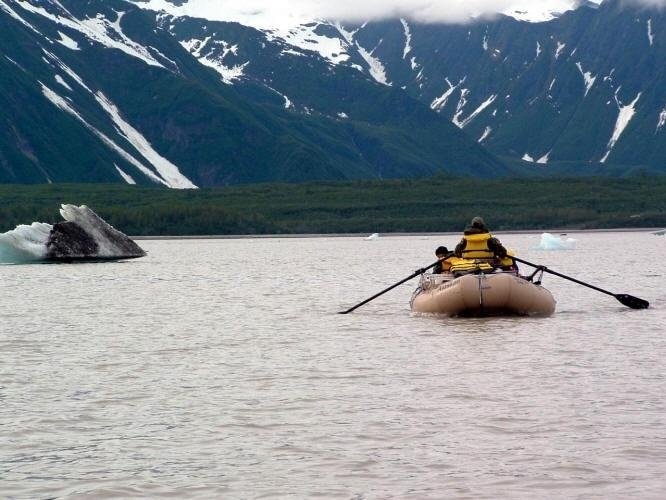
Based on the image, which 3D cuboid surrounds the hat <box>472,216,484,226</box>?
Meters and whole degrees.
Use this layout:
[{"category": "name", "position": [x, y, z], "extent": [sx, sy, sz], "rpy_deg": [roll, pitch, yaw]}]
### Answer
[{"category": "hat", "position": [5.654, -1.100, 42.784], "extent": [0.430, 0.336, 0.484], "rpy_deg": [1, -6, -3]}]

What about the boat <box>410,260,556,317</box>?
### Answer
[{"category": "boat", "position": [6.014, 1.734, 44.193], "extent": [5.421, 1.767, 3.554], "rpy_deg": [0, 1, 4]}]
